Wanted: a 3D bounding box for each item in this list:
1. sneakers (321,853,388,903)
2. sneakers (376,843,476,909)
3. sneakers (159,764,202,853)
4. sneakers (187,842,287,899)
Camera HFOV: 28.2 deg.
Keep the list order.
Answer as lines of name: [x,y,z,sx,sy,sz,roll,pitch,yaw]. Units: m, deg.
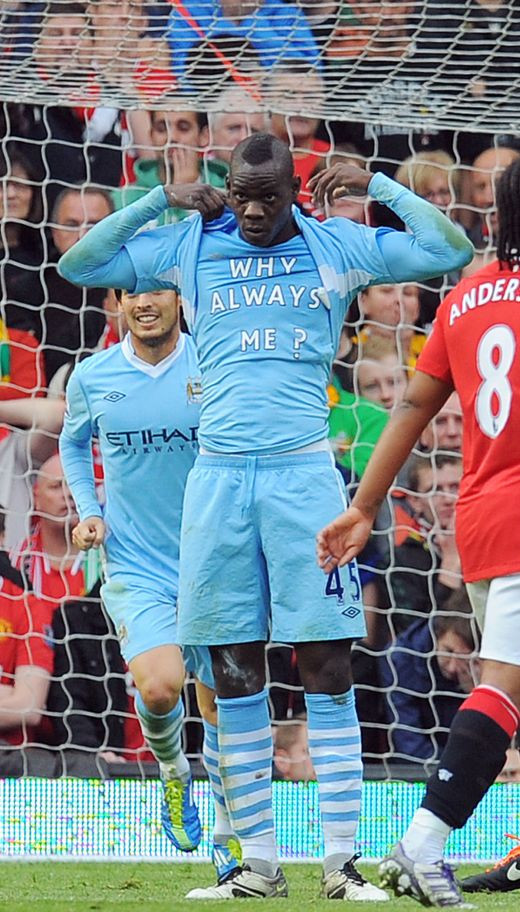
sneakers: [0.205,0.881,2.162,0.058,0.069,0.158,3,-11,-28]
sneakers: [0.291,0.750,1.846,0.154,0.108,0.108,-3,1,3]
sneakers: [-0.235,1.062,3.088,0.098,0.258,0.122,-11,5,7]
sneakers: [-0.077,0.903,2.259,0.285,0.115,0.095,1,-12,0]
